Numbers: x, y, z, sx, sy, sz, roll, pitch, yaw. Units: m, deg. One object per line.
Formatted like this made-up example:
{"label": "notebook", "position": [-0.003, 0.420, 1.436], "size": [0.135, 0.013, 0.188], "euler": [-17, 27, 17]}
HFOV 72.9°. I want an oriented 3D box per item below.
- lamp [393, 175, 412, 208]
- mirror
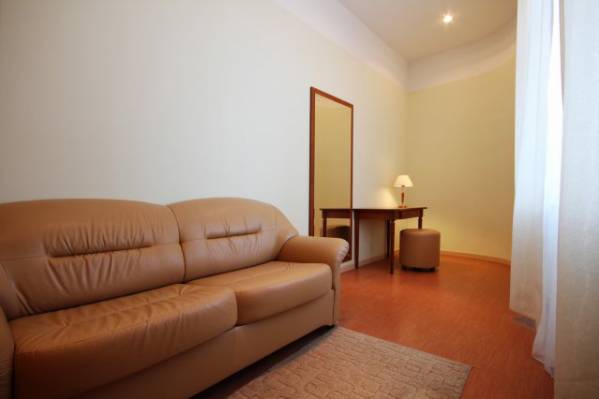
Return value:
{"label": "lamp", "position": [1.634, -0.137, 6.411], "size": [0.251, 0.501, 0.780], "euler": [-1, 4, 14]}
{"label": "mirror", "position": [0.409, -0.550, 5.024], "size": [0.615, 1.485, 0.035], "euler": [0, 4, -27]}
